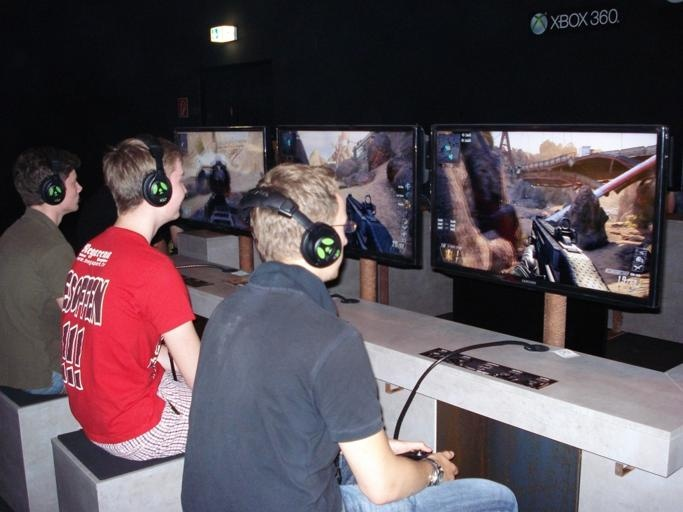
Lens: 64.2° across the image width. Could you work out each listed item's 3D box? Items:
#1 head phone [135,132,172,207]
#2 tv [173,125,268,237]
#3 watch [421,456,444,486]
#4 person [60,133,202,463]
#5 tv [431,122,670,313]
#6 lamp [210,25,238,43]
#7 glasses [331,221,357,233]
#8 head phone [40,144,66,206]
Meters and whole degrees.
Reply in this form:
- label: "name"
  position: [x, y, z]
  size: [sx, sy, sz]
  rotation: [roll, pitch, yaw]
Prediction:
- label: "head phone"
  position: [-0.685, -0.303, 1.973]
  size: [0.086, 0.222, 0.208]
  rotation: [-8, -19, -26]
- label: "tv"
  position: [-0.719, -0.451, 3.228]
  size: [0.777, 0.628, 0.076]
  rotation: [7, 10, 34]
- label: "watch"
  position: [0.248, 0.583, 1.473]
  size: [0.069, 0.036, 0.054]
  rotation: [-4, -7, 42]
- label: "person"
  position: [-0.778, 0.164, 1.959]
  size: [0.456, 1.150, 0.503]
  rotation: [-6, 13, -21]
- label: "tv"
  position: [0.722, -0.189, 2.045]
  size: [0.094, 0.606, 0.954]
  rotation: [-9, 12, -35]
- label: "lamp"
  position: [-1.432, -2.695, 6.587]
  size: [0.371, 0.196, 0.151]
  rotation: [12, 17, 44]
- label: "glasses"
  position: [0.016, -0.116, 2.093]
  size: [0.087, 0.031, 0.093]
  rotation: [10, 31, 32]
- label: "head phone"
  position: [-1.400, -0.349, 2.681]
  size: [0.099, 0.246, 0.255]
  rotation: [-8, -1, -21]
